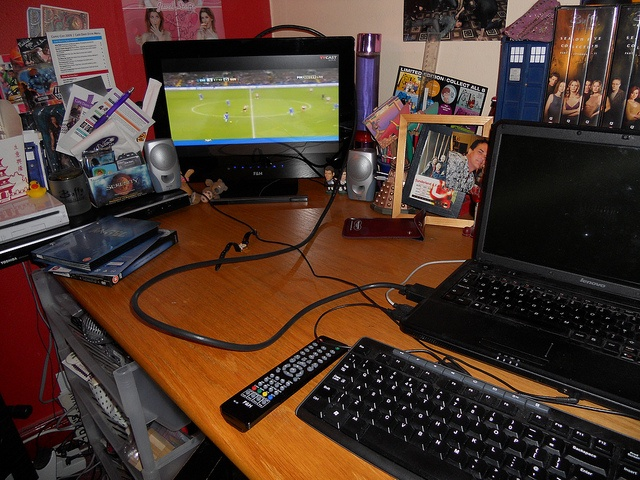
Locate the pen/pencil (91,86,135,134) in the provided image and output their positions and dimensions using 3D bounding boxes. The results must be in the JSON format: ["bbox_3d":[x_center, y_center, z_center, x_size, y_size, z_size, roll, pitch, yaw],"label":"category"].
[{"bbox_3d":[-0.620,-0.383,1.344,0.203,0.022,0.018,-50,9,-6],"label":"pen/pencil"}]

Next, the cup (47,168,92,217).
[{"bbox_3d":[-0.687,-0.134,1.275,0.089,0.136,0.103,20,26,29],"label":"cup"}]

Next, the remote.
[{"bbox_3d":[-0.045,0.239,0.834,0.085,0.046,0.292,26,41,36],"label":"remote"}]

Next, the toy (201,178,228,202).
[{"bbox_3d":[-0.347,-0.164,1.481,0.065,0.049,0.029,-42,25,-21],"label":"toy"}]

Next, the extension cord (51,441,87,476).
[{"bbox_3d":[-0.885,0.797,1.638,0.104,0.105,0.078,-22,46,18],"label":"extension cord"}]

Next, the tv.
[{"bbox_3d":[-0.213,-0.384,1.456,0.650,0.482,0.209,0,8,3],"label":"tv"}]

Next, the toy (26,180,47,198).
[{"bbox_3d":[-0.799,-0.139,1.274,0.045,0.044,0.042,-4,63,-40],"label":"toy"}]

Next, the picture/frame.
[{"bbox_3d":[0.327,-0.180,1.201,0.266,0.308,0.016,14,15,11],"label":"picture/frame"}]
